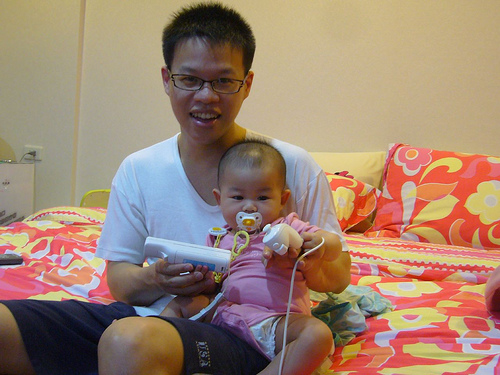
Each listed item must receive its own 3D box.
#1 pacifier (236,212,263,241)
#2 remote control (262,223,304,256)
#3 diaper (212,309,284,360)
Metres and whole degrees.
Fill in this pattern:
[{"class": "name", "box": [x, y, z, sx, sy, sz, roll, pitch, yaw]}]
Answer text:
[{"class": "pacifier", "box": [-0.004, 0.120, 1.424, 0.094, 0.039, 0.124, -5, 20, -13]}, {"class": "remote control", "box": [0.088, 0.143, 1.225, 0.103, 0.090, 0.099, 0, 12, -3]}, {"class": "diaper", "box": [0.032, 0.436, 1.293, 0.121, 0.094, 0.117, 2, 6, 8]}]
